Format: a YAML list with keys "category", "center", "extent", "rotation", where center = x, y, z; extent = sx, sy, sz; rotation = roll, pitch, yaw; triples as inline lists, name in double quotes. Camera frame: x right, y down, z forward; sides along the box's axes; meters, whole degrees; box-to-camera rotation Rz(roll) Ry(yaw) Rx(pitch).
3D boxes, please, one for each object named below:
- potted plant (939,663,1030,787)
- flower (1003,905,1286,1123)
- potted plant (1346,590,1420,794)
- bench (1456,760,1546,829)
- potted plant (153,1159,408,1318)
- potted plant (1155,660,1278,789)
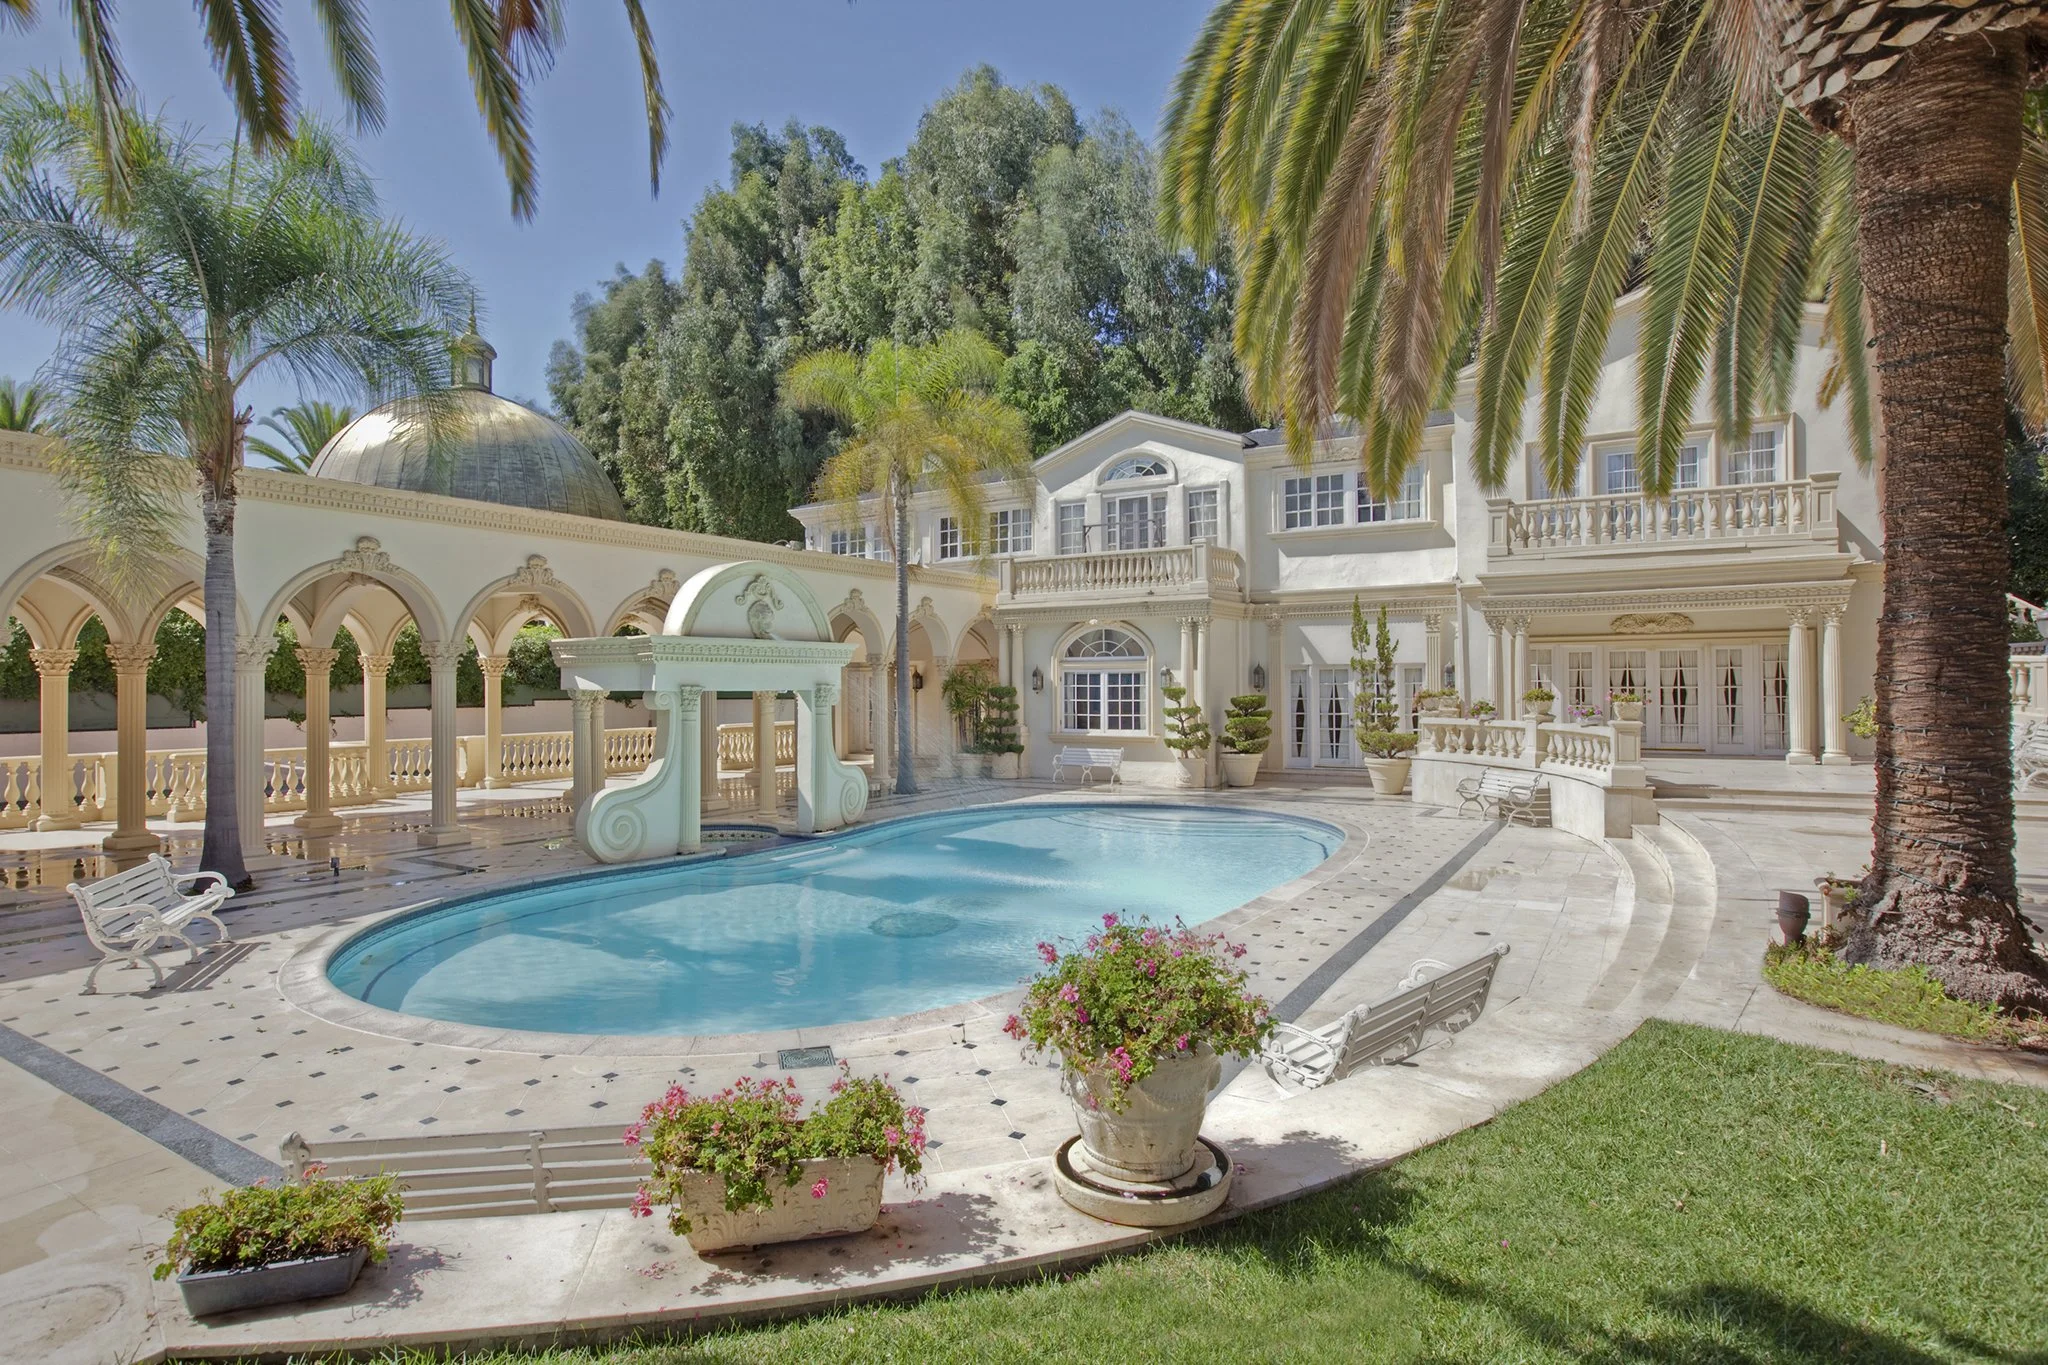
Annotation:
- category: "potted plant"
  center: [-0.934, 1.194, 34.158]
  extent: [2.631, 3.483, 2.307]
  rotation: [-1, -8, -11]
- category: "flower"
  center: [0.806, 2.532, 11.087]
  extent: [1.567, 0.974, 1.641]
  rotation: [2, -1, -12]
- category: "potted plant"
  center: [7.816, 0.264, 29.822]
  extent: [1.405, 3.708, 2.980]
  rotation: [2, 14, 13]
- category: "bench"
  center: [8.972, 2.116, 25.238]
  extent: [0.848, 1.010, 2.323]
  rotation: [-4, 14, -11]
- category: "potted plant"
  center: [-5.363, 4.111, 9.956]
  extent: [1.424, 0.678, 0.524]
  rotation: [-4, 14, -9]
- category: "potted plant"
  center: [4.403, 0.879, 31.315]
  extent: [2.720, 2.608, 2.354]
  rotation: [1, -8, 3]
